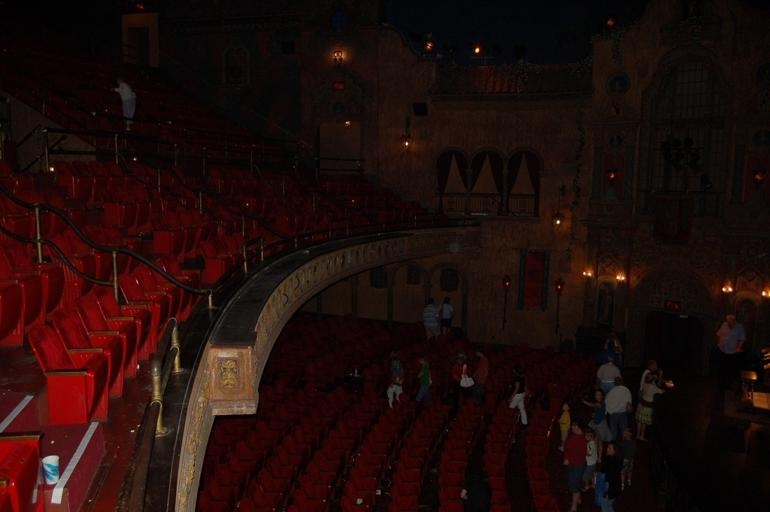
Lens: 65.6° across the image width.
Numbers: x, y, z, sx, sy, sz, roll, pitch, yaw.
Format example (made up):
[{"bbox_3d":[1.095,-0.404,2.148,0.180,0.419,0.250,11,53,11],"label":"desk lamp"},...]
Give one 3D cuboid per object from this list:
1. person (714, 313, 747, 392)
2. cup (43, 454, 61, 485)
[{"bbox_3d":[9.638,2.714,16.829,0.804,2.005,0.828,9,-9,-35],"label":"person"},{"bbox_3d":[-3.456,2.199,6.151,0.177,0.284,0.177,4,-8,1],"label":"cup"}]
